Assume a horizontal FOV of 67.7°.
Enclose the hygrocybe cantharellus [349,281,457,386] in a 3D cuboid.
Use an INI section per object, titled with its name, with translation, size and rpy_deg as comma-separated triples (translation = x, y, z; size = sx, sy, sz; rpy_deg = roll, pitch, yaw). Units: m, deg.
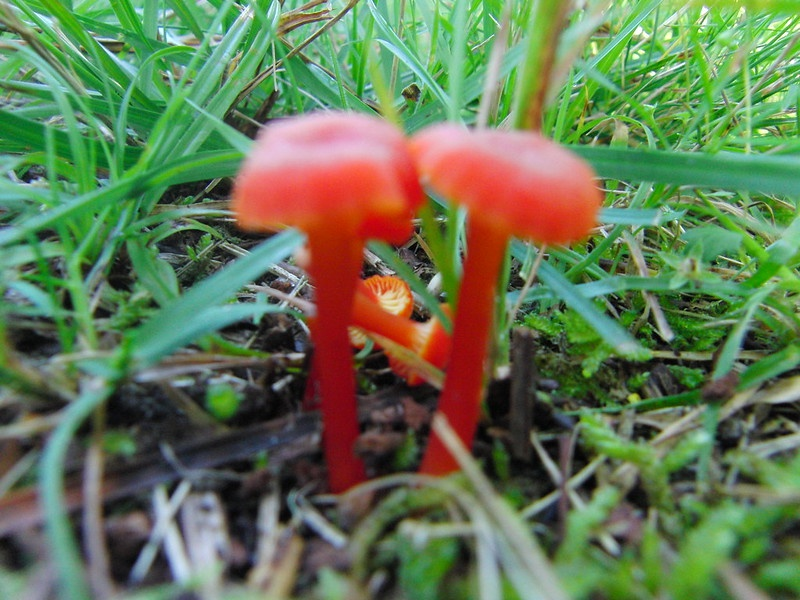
[hygrocybe cantharellus]
translation = 0.000, 0.102, 1.619
size = 0.163, 0.248, 0.167
rpy_deg = -29, 59, 16
